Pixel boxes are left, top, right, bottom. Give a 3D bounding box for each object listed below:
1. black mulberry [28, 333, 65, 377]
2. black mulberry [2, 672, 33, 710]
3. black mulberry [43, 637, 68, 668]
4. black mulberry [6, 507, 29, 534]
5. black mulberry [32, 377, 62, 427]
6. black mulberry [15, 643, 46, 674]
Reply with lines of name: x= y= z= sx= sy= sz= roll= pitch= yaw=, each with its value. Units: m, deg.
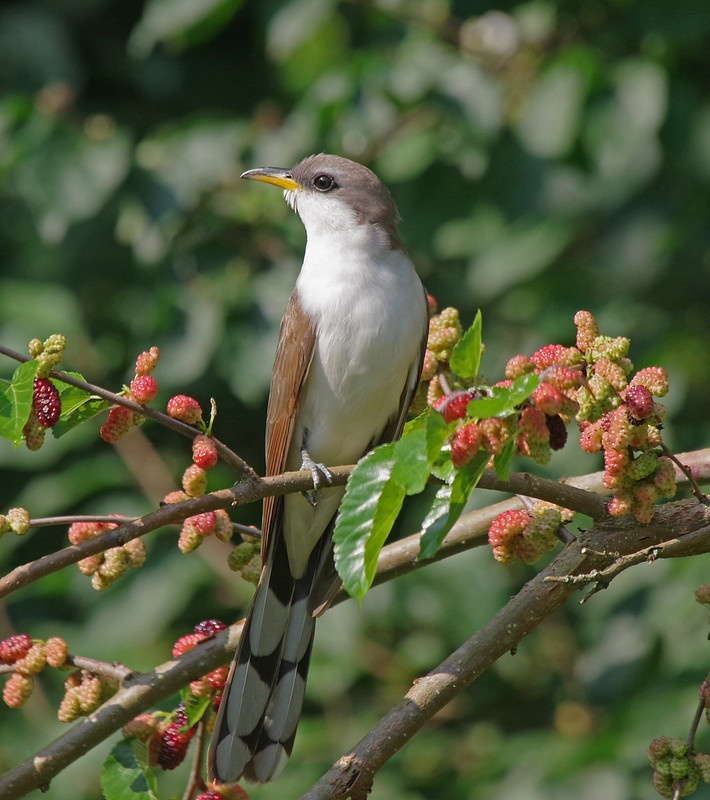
black mulberry: x=-0.744 y=-0.111 z=2.916 sx=0.124 sy=0.073 sz=0.058 roll=-29 pitch=1 yaw=39
black mulberry: x=-0.897 y=0.779 z=3.205 sx=0.071 sy=0.046 sz=0.104 roll=15 pitch=-64 yaw=-28
black mulberry: x=-0.813 y=0.680 z=3.240 sx=0.056 sy=0.073 sz=0.070 roll=1 pitch=12 yaw=24
black mulberry: x=-0.789 y=0.280 z=2.805 sx=0.058 sy=0.067 sz=0.020 roll=-3 pitch=-46 yaw=-12
black mulberry: x=-0.744 y=0.003 z=2.898 sx=0.082 sy=0.105 sz=0.043 roll=-3 pitch=2 yaw=-16
black mulberry: x=-0.856 y=0.681 z=3.199 sx=0.074 sy=0.097 sz=0.049 roll=-2 pitch=-40 yaw=-2
